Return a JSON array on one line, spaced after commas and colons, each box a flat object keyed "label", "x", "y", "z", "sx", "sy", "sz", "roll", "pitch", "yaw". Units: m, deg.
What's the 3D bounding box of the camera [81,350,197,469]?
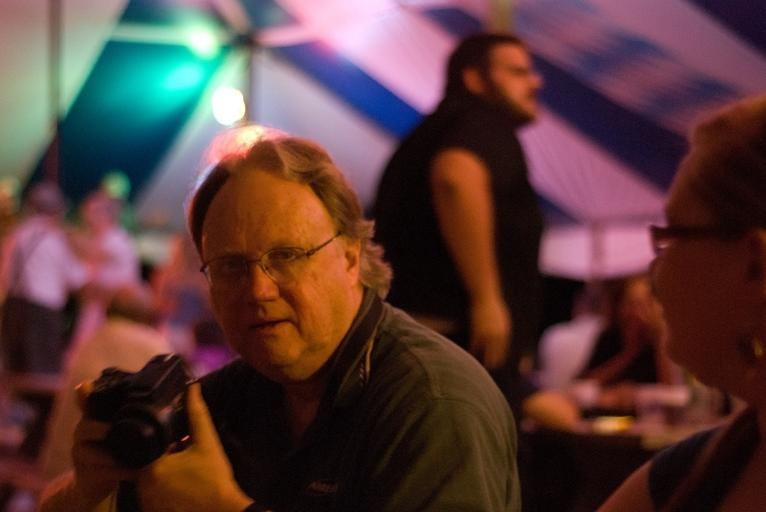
[{"label": "camera", "x": -0.607, "y": 0.394, "z": 2.310, "sx": 0.250, "sy": 0.263, "sz": 0.266, "roll": 15, "pitch": 3, "yaw": -3}]
